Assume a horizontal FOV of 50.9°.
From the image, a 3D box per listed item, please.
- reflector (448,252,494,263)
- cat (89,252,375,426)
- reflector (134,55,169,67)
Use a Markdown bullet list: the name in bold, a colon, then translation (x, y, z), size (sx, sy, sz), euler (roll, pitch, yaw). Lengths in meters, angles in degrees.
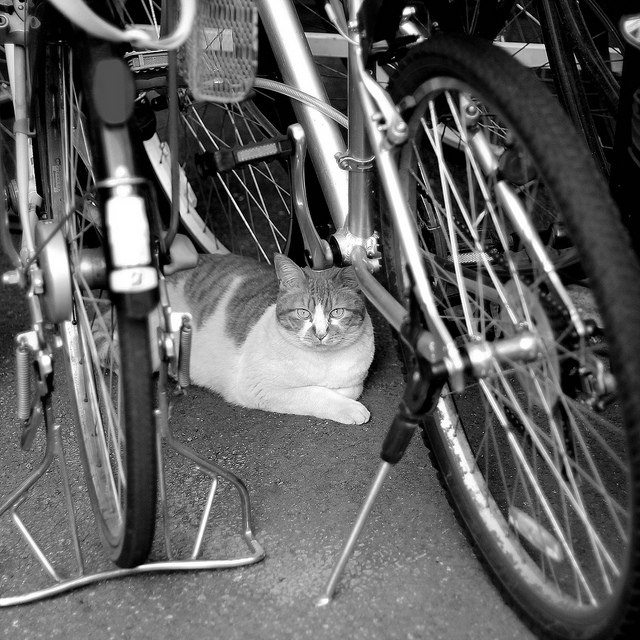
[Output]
- **reflector**: translation (0.258, -0.109, 1.192), size (0.003, 0.030, 0.077), euler (-13, 14, -40)
- **cat**: translation (-0.140, 0.018, 1.874), size (0.347, 0.387, 0.663), euler (-23, 38, -26)
- **reflector**: translation (-0.378, -0.578, 1.510), size (0.069, 0.029, 0.016), euler (2, 24, -7)
